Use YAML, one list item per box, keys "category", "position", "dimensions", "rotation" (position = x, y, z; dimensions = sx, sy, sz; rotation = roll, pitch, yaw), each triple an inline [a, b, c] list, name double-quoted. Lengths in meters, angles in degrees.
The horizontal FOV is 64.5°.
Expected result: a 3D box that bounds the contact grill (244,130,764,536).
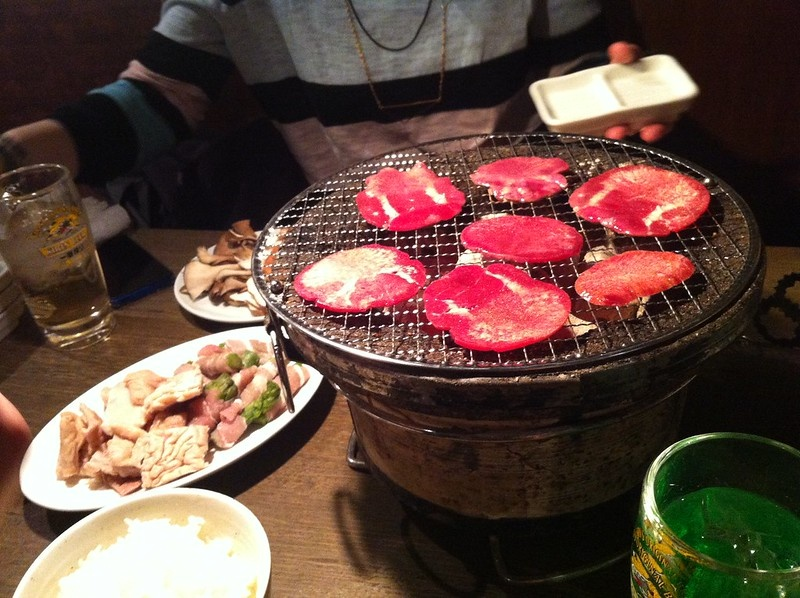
- category: "contact grill"
  position: [0.238, 0.039, 2.196]
  dimensions: [1.571, 1.026, 1.148]
  rotation: [6, 31, -2]
